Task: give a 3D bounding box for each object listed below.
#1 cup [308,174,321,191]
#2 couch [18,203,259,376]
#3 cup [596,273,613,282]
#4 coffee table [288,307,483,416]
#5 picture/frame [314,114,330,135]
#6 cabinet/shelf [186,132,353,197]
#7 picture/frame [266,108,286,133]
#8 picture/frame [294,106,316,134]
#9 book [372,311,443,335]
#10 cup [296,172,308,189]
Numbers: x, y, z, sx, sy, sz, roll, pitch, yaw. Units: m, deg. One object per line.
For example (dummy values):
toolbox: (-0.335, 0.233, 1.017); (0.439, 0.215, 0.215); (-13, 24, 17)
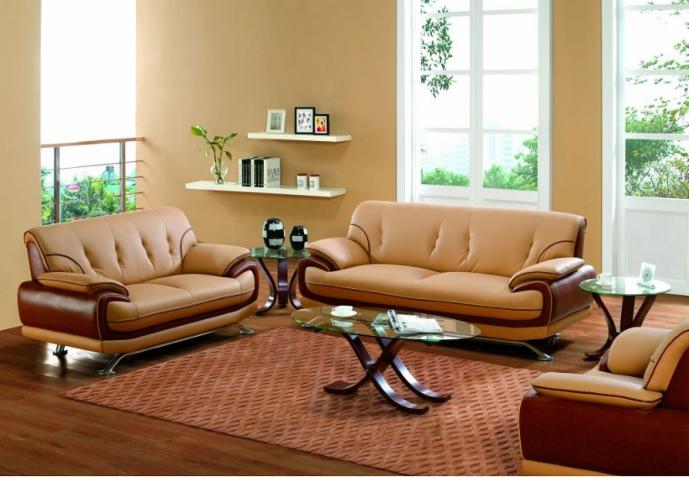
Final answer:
cup: (-0.436, -0.807, 7.522); (0.172, 0.215, 0.297); (-1, 9, -3)
couch: (-1.893, 0.401, 4.956); (1.241, 1.095, 1.904); (9, 11, 23)
cup: (2.170, 0.327, 4.295); (0.112, 0.073, 0.071); (0, 2, 22)
coffee table: (0.283, 0.854, 3.690); (1.301, 0.639, 0.707); (2, 10, 13)
picture/frame: (-0.338, -1.642, 7.481); (0.209, 0.274, 0.116); (-1, 10, -1)
cabinet/shelf: (-1.080, -1.079, 7.709); (2.378, 0.972, 0.439); (3, 11, 21)
picture/frame: (-1.023, -1.752, 7.732); (0.432, 0.480, 0.029); (1, 0, 14)
picture/frame: (-0.571, -1.722, 7.557); (0.445, 0.485, 0.037); (2, 1, 22)
book: (0.433, 0.599, 3.592); (0.472, 0.053, 0.542); (0, 9, 4)
cup: (-0.602, -0.809, 7.510); (0.170, 0.209, 0.152); (-1, 10, -5)
